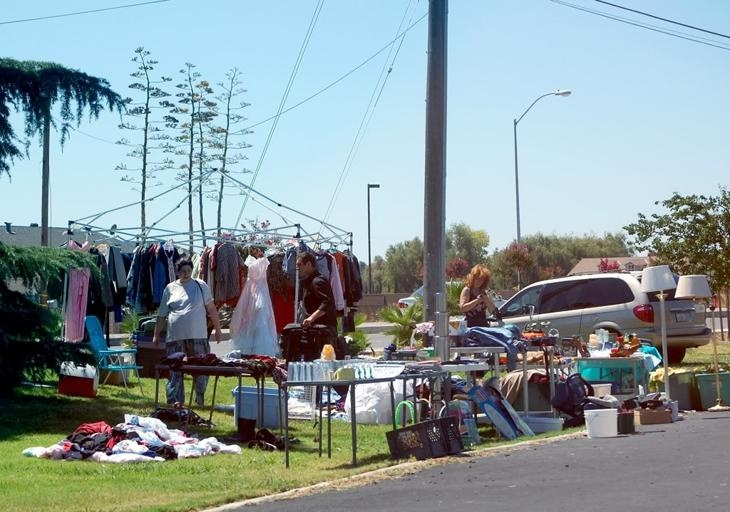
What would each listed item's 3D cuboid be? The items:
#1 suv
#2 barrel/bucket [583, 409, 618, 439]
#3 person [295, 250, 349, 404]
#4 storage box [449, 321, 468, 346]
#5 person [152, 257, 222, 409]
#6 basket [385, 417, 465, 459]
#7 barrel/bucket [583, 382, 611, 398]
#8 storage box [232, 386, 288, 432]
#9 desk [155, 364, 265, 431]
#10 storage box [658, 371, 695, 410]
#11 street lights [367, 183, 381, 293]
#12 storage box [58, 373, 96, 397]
[{"bbox_3d":[4.656,1.047,21.108,3.679,1.412,1.817,2,0,39],"label":"suv"},{"bbox_3d":[3.335,2.354,14.959,0.379,0.311,0.397,-2,-7,0],"label":"barrel/bucket"},{"bbox_3d":[-0.803,0.994,16.449,0.763,2.524,0.869,5,1,10],"label":"person"},{"bbox_3d":[1.384,1.132,15.671,0.226,0.390,0.179,-2,-8,2],"label":"storage box"},{"bbox_3d":[-2.785,1.186,16.772,0.977,2.240,0.624,-3,-2,-4],"label":"person"},{"bbox_3d":[0.793,2.429,14.082,0.888,0.458,0.906,-18,-12,19],"label":"basket"},{"bbox_3d":[3.684,2.094,16.732,0.261,0.362,0.353,-2,-3,33],"label":"barrel/bucket"},{"bbox_3d":[-1.576,2.237,15.849,0.821,0.542,0.633,1,-1,10],"label":"storage box"},{"bbox_3d":[-2.357,2.025,15.796,1.520,1.028,2.547,0,-9,-18],"label":"desk"},{"bbox_3d":[5.089,2.150,16.995,0.465,0.603,0.189,4,-10,-38],"label":"storage box"},{"bbox_3d":[0.505,-0.797,51.532,0.717,5.448,0.123,4,-11,-29],"label":"street lights"},{"bbox_3d":[-4.845,2.175,17.799,0.612,0.346,0.307,7,-15,3],"label":"storage box"}]
